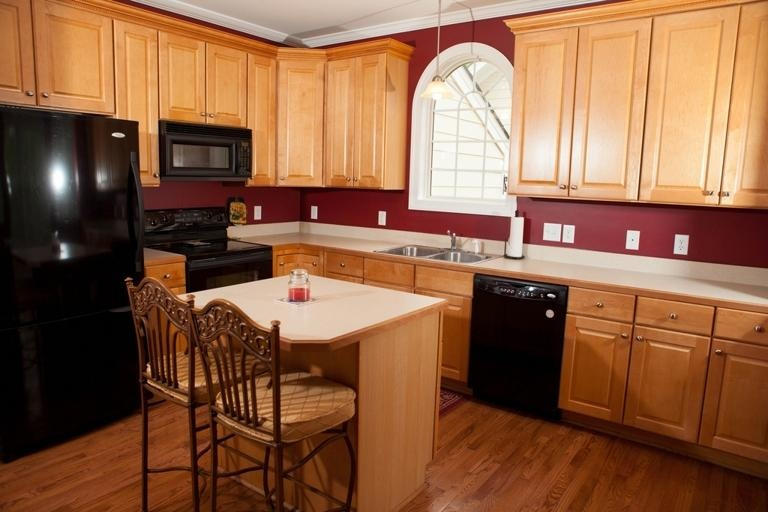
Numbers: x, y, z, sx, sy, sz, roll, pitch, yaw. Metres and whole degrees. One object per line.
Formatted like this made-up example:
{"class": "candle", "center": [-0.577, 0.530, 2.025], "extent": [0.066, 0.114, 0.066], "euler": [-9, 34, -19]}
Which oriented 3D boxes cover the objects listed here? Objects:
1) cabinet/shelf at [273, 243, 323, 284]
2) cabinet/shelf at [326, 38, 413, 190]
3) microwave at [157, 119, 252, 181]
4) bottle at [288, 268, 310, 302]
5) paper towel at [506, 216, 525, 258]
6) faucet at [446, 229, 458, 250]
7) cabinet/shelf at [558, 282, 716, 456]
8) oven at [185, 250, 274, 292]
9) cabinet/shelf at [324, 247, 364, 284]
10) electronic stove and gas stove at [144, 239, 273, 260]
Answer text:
{"class": "cabinet/shelf", "center": [-0.811, 0.078, 5.165], "extent": [0.379, 0.516, 0.365], "euler": [0, 5, 17]}
{"class": "cabinet/shelf", "center": [-0.211, -1.328, 5.123], "extent": [0.824, 1.353, 0.382], "euler": [0, 10, 1]}
{"class": "microwave", "center": [-1.723, -0.941, 4.895], "extent": [0.506, 0.496, 0.900], "euler": [15, 15, 37]}
{"class": "bottle", "center": [-0.532, 0.191, 3.299], "extent": [0.151, 0.190, 0.145], "euler": [1, 2, 0]}
{"class": "paper towel", "center": [1.150, -0.136, 4.593], "extent": [0.187, 0.316, 0.184], "euler": [3, 0, 5]}
{"class": "faucet", "center": [0.634, -0.140, 4.960], "extent": [0.101, 0.176, 0.284], "euler": [1, 9, 7]}
{"class": "cabinet/shelf", "center": [1.961, 0.795, 3.954], "extent": [0.561, 1.028, 1.103], "euler": [7, -2, -36]}
{"class": "oven", "center": [-1.383, 0.123, 4.648], "extent": [0.580, 0.351, 0.368], "euler": [-10, 19, -42]}
{"class": "cabinet/shelf", "center": [-0.355, 0.117, 5.075], "extent": [0.434, 0.370, 0.229], "euler": [9, 30, 11]}
{"class": "electronic stove and gas stove", "center": [-1.600, -0.059, 4.740], "extent": [0.413, 0.125, 0.467], "euler": [5, 8, 40]}
